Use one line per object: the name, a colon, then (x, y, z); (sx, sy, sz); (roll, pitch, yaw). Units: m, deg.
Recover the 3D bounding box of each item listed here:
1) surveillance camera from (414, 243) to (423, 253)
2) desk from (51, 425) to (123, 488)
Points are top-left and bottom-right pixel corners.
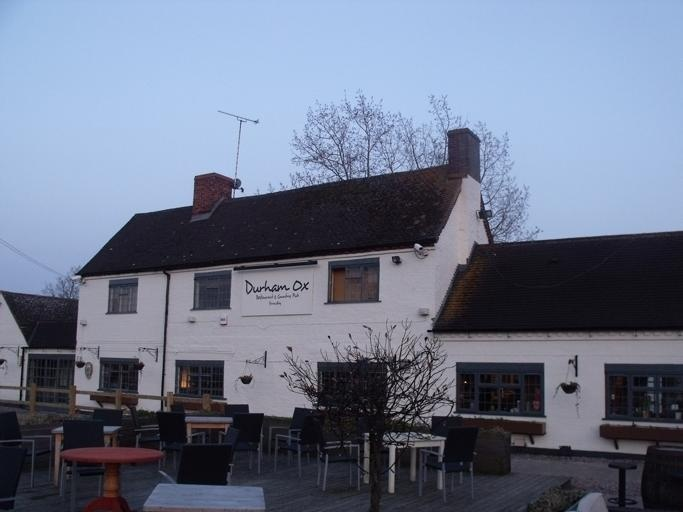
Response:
surveillance camera: (2.412, -0.273, 23.807); (0.197, 0.300, 0.281); (-11, 20, -30)
desk: (-5.572, 4.174, 15.873); (0.973, 1.100, 1.182); (1, -7, -17)
